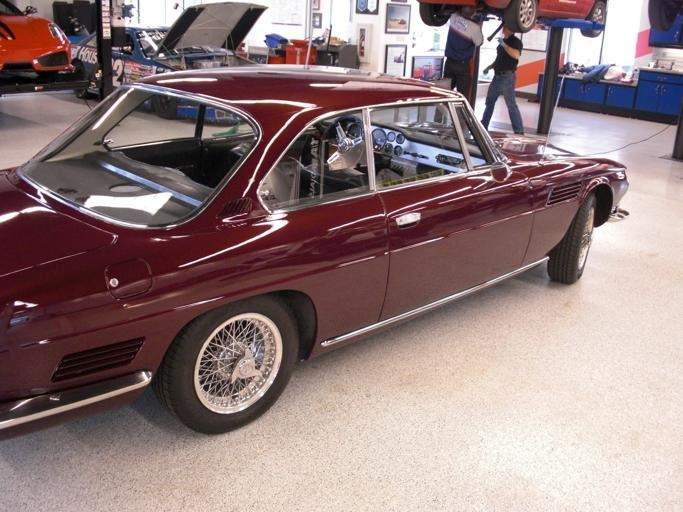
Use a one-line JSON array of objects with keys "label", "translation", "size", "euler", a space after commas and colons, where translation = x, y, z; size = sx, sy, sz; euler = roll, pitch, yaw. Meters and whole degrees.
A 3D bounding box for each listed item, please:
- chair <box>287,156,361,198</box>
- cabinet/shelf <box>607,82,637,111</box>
[{"label": "chair", "translation": [-0.081, -0.391, 2.330], "size": [0.211, 0.122, 0.326], "euler": [-4, -2, 34]}, {"label": "cabinet/shelf", "translation": [8.229, -4.665, 12.976], "size": [0.789, 0.617, 0.779], "euler": [18, 27, 37]}]
